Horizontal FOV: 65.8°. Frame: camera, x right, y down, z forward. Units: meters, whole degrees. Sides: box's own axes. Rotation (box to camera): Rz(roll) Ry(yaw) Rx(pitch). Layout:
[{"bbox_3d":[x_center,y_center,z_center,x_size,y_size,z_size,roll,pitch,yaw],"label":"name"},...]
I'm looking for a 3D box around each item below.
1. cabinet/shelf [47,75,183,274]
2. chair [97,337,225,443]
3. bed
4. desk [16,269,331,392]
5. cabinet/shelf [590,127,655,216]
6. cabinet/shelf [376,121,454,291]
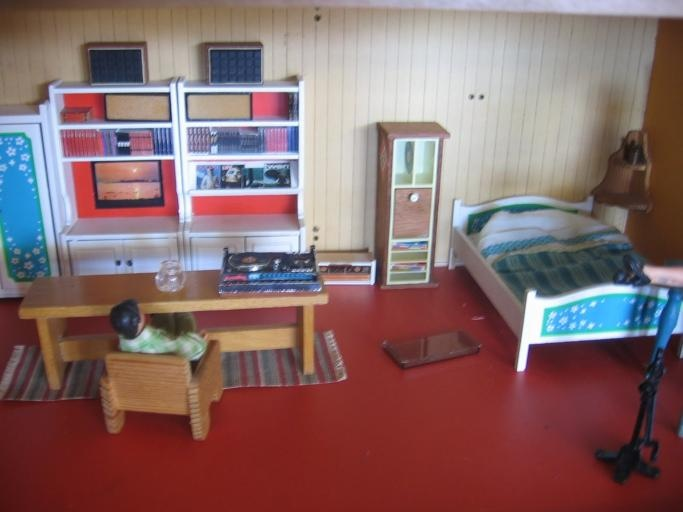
[{"bbox_3d":[-2.266,-0.597,5.492,1.166,2.269,0.669,-3,19,-15],"label":"cabinet/shelf"},{"bbox_3d":[-1.330,0.928,4.081,0.723,0.618,0.724,1,28,1],"label":"chair"},{"bbox_3d":[2.054,0.060,5.310,1.465,0.790,1.933,-2,39,0],"label":"bed"},{"bbox_3d":[-1.338,0.592,4.598,2.357,0.904,0.696,-3,29,-16],"label":"desk"},{"bbox_3d":[2.975,-0.888,5.534,0.583,0.750,0.499,9,32,28],"label":"cabinet/shelf"},{"bbox_3d":[0.722,-0.551,5.770,0.690,1.726,0.490,-3,21,-6],"label":"cabinet/shelf"}]
